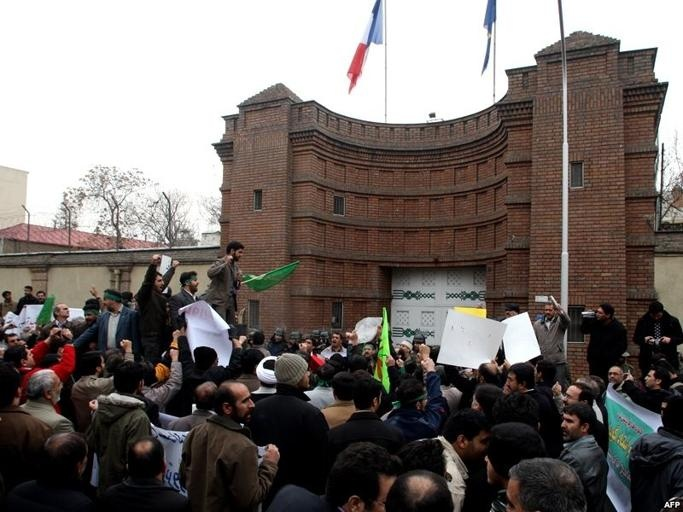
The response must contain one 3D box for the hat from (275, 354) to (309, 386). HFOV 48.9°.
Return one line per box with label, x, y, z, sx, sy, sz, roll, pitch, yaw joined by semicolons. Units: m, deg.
hat;-0.712;1.585;10.622;0.419;0.420;0.397;-3;31;21
